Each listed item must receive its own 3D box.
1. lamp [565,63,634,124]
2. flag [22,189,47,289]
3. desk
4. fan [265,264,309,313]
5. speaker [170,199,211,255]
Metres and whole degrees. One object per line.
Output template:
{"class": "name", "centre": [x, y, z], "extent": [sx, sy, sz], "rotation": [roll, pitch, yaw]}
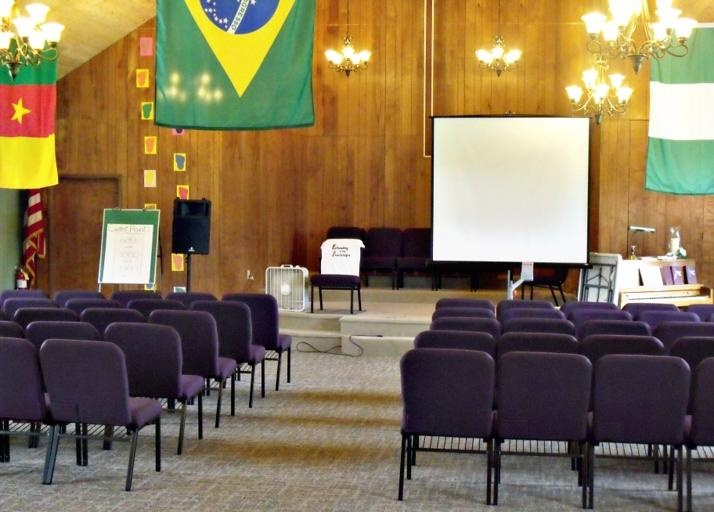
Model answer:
{"class": "lamp", "centre": [3.630, -2.393, 11.601], "extent": [0.927, 1.106, 1.004], "rotation": [4, -1, 17]}
{"class": "flag", "centre": [-4.823, -0.253, 11.658], "extent": [0.353, 1.431, 0.270], "rotation": [-1, -1, 31]}
{"class": "desk", "centre": [4.366, 0.561, 11.292], "extent": [1.147, 0.965, 0.711], "rotation": [-2, 1, 1]}
{"class": "fan", "centre": [-1.036, 0.400, 11.237], "extent": [0.589, 0.738, 0.247], "rotation": [0, 25, -5]}
{"class": "speaker", "centre": [-2.329, -0.417, 10.926], "extent": [0.524, 0.764, 0.210], "rotation": [-1, -1, -16]}
